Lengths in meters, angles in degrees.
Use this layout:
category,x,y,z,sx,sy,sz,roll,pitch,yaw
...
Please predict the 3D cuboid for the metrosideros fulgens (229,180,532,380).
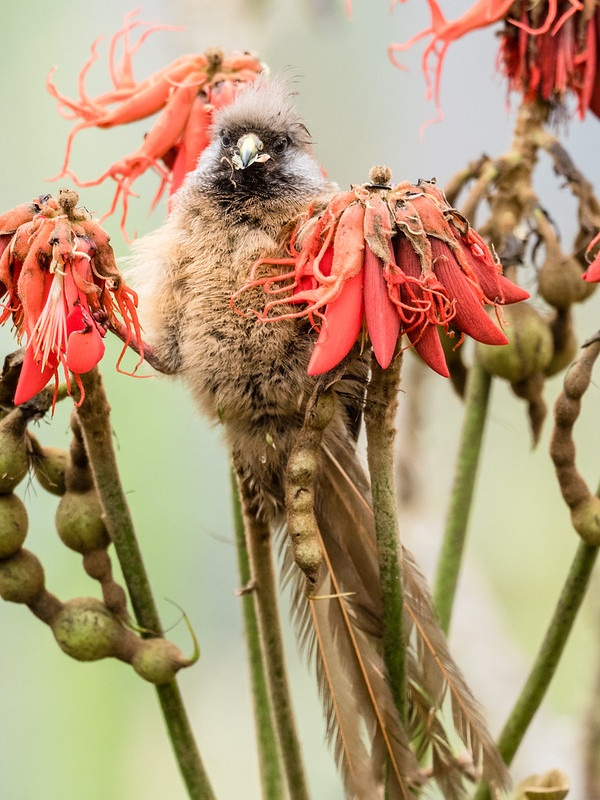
category,x,y,z,sx,sy,sz,roll,pitch,yaw
metrosideros fulgens,0.029,-0.069,0.693,0.137,0.114,0.161,-7,-3,-38
